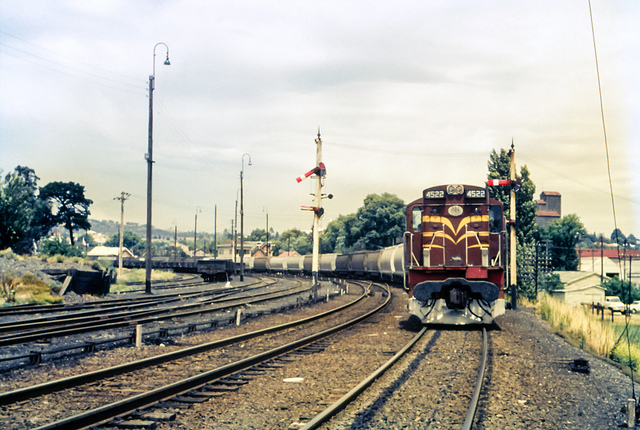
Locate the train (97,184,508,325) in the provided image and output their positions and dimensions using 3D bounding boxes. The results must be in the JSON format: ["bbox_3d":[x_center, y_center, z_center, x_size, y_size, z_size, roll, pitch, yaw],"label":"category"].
[{"bbox_3d":[-1.375,1.821,33.318,22.340,4.110,2.244,-4,-6,35],"label":"train"}]
